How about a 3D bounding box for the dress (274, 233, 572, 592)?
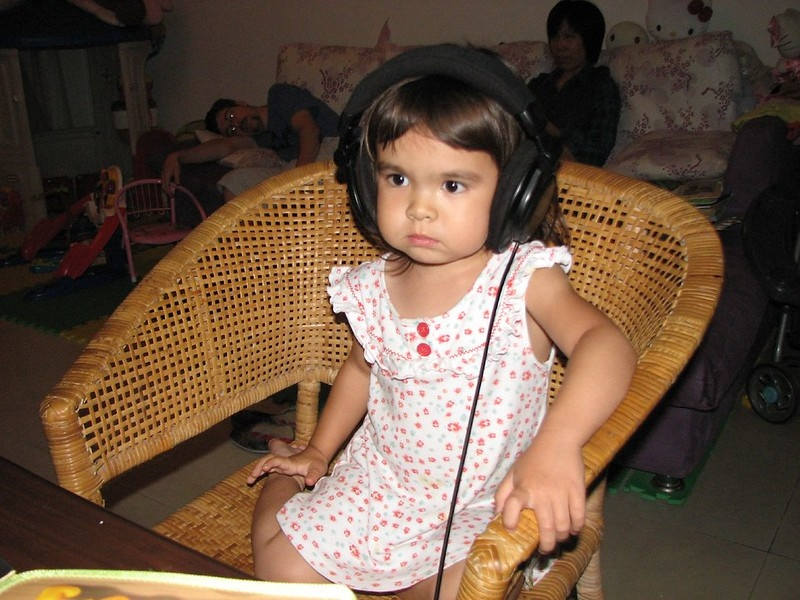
[{"bbox_3d":[-0.020,0.148,1.189,0.505,0.639,0.482,8,11,36],"label":"dress"}]
